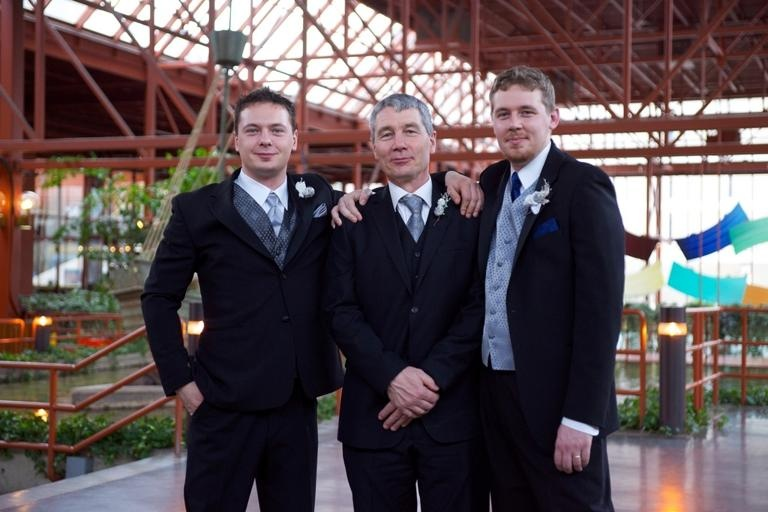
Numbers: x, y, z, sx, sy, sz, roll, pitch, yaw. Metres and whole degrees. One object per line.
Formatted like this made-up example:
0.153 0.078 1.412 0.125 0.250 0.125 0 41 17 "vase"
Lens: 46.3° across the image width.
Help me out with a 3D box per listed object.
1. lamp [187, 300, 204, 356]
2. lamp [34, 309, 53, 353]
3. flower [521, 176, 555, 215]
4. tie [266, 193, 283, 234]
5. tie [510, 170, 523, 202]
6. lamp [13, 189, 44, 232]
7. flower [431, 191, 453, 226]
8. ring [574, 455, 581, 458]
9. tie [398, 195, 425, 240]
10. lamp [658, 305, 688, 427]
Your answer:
-2.469 0.958 11.833 0.203 0.685 0.219 1 -10 8 "lamp"
-6.683 1.519 17.901 0.390 0.839 0.453 -3 12 -9 "lamp"
1.451 -0.572 8.468 0.196 0.322 0.115 7 -4 4 "flower"
-1.107 -0.451 8.855 0.184 0.069 0.582 16 -37 7 "tie"
1.258 -0.672 8.637 0.067 0.340 0.083 -3 -15 30 "tie"
-8.109 -1.045 20.535 0.503 0.915 1.583 -1 -3 -22 "lamp"
0.555 -0.480 8.831 0.121 0.340 0.110 16 -7 6 "flower"
1.784 1.863 8.333 0.056 0.037 0.009 -2 -3 -5 "ring"
0.282 -0.399 8.724 0.187 0.470 0.132 0 2 -1 "tie"
3.948 1.560 12.389 0.415 1.714 0.301 -3 -3 18 "lamp"
